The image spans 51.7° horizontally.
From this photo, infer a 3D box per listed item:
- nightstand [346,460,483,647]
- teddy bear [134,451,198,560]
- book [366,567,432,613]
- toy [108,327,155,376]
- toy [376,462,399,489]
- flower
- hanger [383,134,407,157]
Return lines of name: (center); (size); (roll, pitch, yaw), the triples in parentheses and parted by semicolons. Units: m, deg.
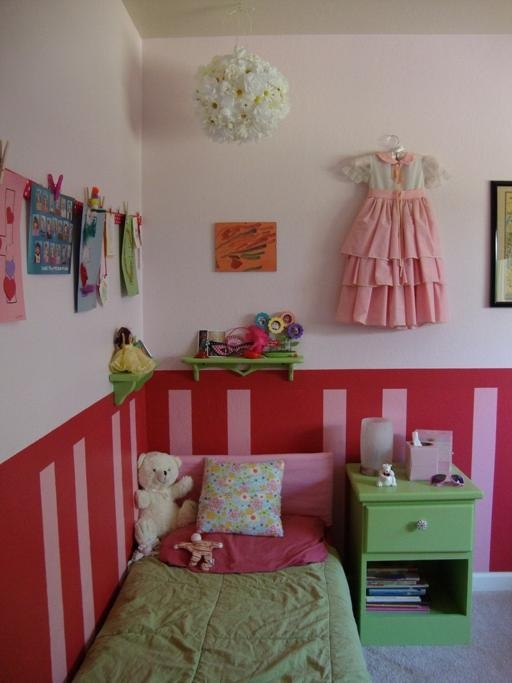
nightstand: (0.562, 0.867, 2.288); (0.569, 0.797, 0.602); (-1, -2, 4)
teddy bear: (-0.410, 0.654, 2.163); (0.206, 0.377, 0.333); (-15, -14, 36)
book: (0.562, 0.995, 2.117); (0.166, 0.041, 0.175); (1, 4, 5)
toy: (-0.479, 0.033, 1.957); (0.141, 0.182, 0.244); (-16, 5, 2)
toy: (0.512, 0.535, 2.110); (0.083, 0.096, 0.080); (4, 16, 5)
flower: (-0.036, -0.838, 1.804); (0.306, 0.306, 0.287); (3, 48, 0)
hanger: (0.586, -0.836, 2.258); (0.084, 0.112, 0.057); (0, -12, -3)
